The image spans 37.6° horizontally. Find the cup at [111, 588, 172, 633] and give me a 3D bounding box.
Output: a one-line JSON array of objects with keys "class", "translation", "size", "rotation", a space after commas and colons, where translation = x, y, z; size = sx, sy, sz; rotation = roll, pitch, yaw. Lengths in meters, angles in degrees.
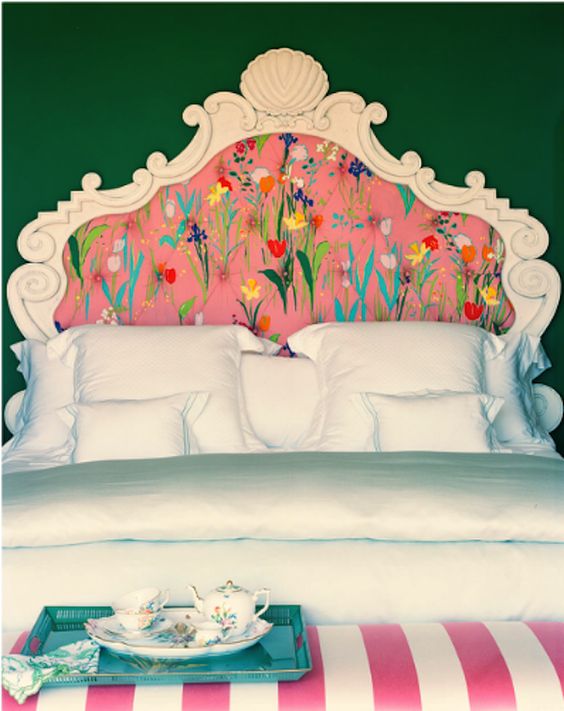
[{"class": "cup", "translation": [-0.275, 0.488, 1.593], "size": [0.091, 0.049, 0.070], "rotation": [2, 2, 3]}]

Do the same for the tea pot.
[{"class": "tea pot", "translation": [-0.108, 0.489, 1.594], "size": [0.141, 0.083, 0.088], "rotation": [2, -4, -2]}]
